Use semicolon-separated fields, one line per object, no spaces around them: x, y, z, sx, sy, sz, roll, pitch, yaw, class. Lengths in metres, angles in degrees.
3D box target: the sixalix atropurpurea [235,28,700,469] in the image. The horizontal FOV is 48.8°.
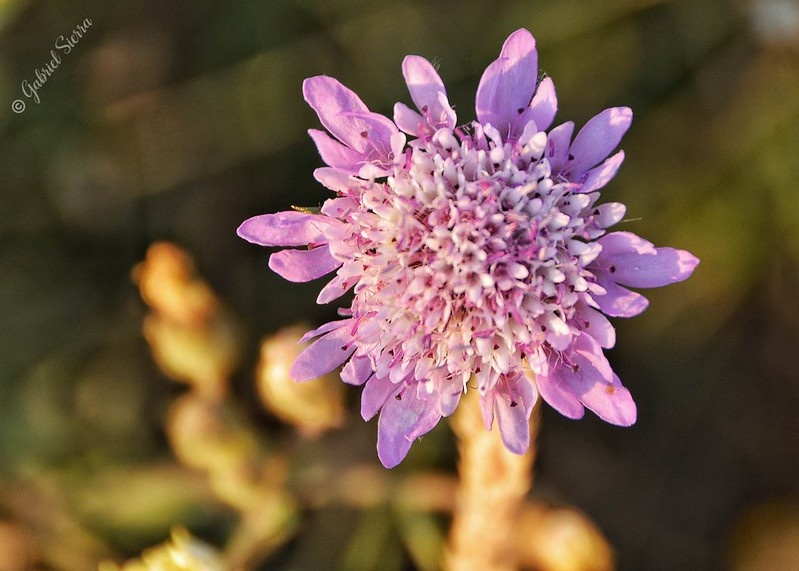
0.113;-0.049;1.449;0.697;0.436;0.595;-16;56;-6;sixalix atropurpurea
